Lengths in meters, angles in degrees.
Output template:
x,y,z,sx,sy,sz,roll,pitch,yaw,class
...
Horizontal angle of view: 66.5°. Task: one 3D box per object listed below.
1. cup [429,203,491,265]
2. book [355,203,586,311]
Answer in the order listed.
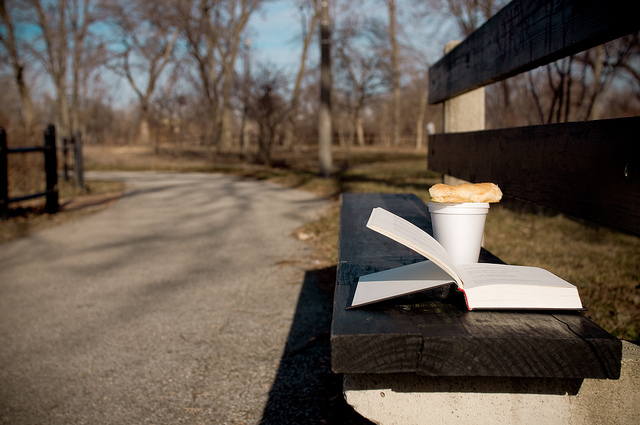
x,y,z,sx,sy,sz,roll,pitch,yaw,class
0.763,0.119,2.848,0.304,0.336,0.330,0,0,0,cup
0.769,0.243,2.630,1.073,0.388,0.754,2,5,9,book
